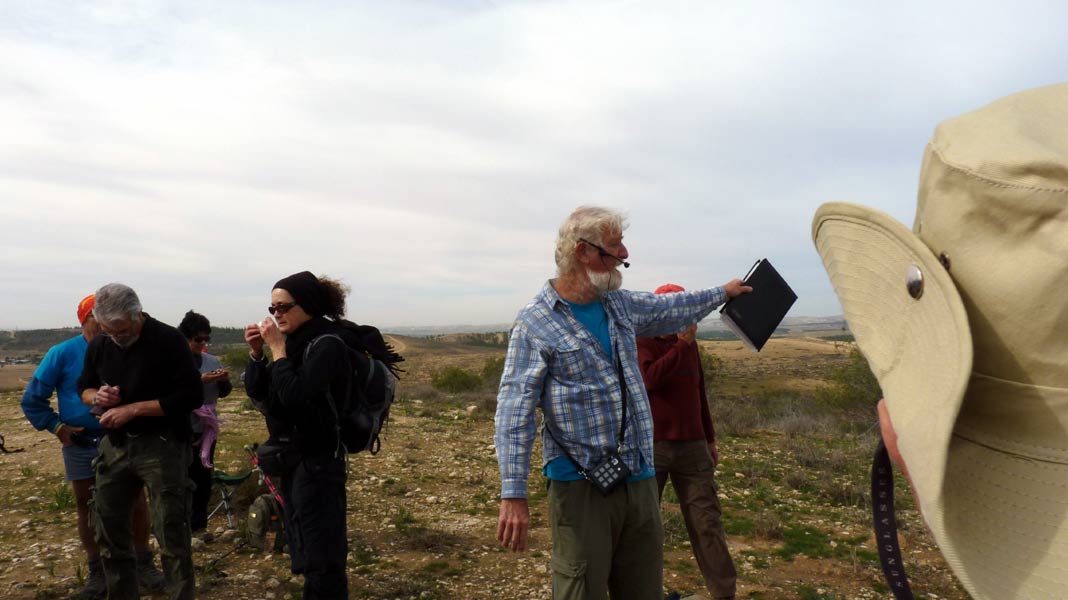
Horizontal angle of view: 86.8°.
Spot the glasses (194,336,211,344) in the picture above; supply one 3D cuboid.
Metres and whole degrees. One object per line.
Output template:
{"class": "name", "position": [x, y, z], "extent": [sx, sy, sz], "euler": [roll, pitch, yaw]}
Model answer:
{"class": "glasses", "position": [-4.361, 0.515, 7.434], "extent": [0.121, 0.110, 0.044], "euler": [8, -7, -43]}

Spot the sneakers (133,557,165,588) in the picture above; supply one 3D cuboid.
{"class": "sneakers", "position": [-4.157, 2.945, 6.163], "extent": [0.462, 0.250, 0.169], "euler": [-6, -8, 42]}

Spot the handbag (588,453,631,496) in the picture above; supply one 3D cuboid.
{"class": "handbag", "position": [0.533, 1.181, 3.906], "extent": [0.329, 0.249, 0.098], "euler": [0, 3, -19]}
